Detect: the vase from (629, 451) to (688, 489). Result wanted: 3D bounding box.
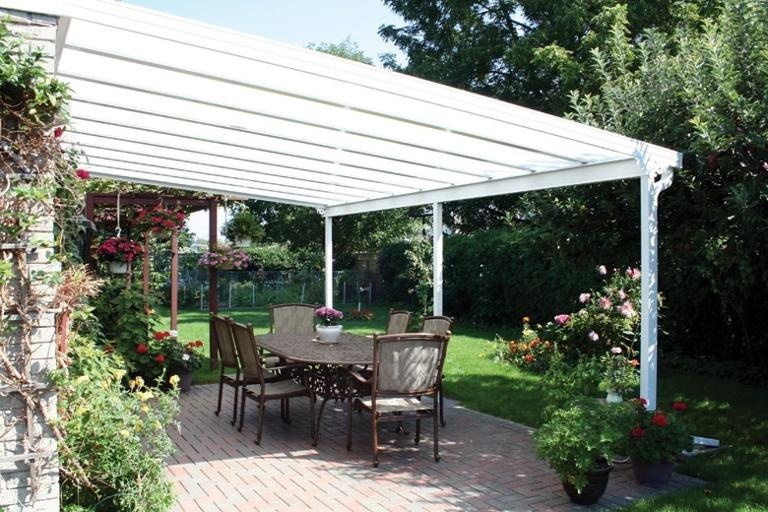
[{"bbox_3d":[2.527,1.988,6.432,0.411,0.300,0.239,0,7,3],"label":"vase"}]

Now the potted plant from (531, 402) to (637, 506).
[{"bbox_3d":[1.816,1.745,6.374,0.877,0.888,0.763,0,-4,-26],"label":"potted plant"}]

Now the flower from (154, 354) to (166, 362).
[{"bbox_3d":[-2.881,1.316,8.830,0.106,0.044,0.107,0,1,44],"label":"flower"}]

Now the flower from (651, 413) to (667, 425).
[{"bbox_3d":[2.613,1.547,6.491,0.120,0.099,0.200,4,9,37],"label":"flower"}]

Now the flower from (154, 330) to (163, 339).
[{"bbox_3d":[-2.994,1.056,9.168,0.097,0.077,0.107,-3,-14,9],"label":"flower"}]

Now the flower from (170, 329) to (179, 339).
[{"bbox_3d":[-2.888,1.073,9.472,0.107,0.113,0.128,7,-4,-40],"label":"flower"}]

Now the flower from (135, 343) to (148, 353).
[{"bbox_3d":[-3.135,1.208,8.906,0.138,0.140,0.116,-3,7,-14],"label":"flower"}]

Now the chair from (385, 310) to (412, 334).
[{"bbox_3d":[0.187,0.869,9.028,0.264,0.449,0.315,0,-8,39],"label":"chair"}]

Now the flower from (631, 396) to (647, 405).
[{"bbox_3d":[2.506,1.432,6.749,0.110,0.085,0.112,1,3,13],"label":"flower"}]

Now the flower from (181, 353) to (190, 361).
[{"bbox_3d":[-2.642,1.349,9.174,0.095,0.090,0.110,-3,7,-14],"label":"flower"}]

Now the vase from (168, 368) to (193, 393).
[{"bbox_3d":[-2.712,1.672,9.207,0.323,0.319,0.391,-4,8,-25],"label":"vase"}]

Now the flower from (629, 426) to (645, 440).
[{"bbox_3d":[2.351,1.651,6.377,0.097,0.037,0.097,-10,3,-13],"label":"flower"}]

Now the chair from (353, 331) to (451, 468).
[{"bbox_3d":[0.110,1.440,7.221,0.944,1.332,0.986,2,-2,-32],"label":"chair"}]
